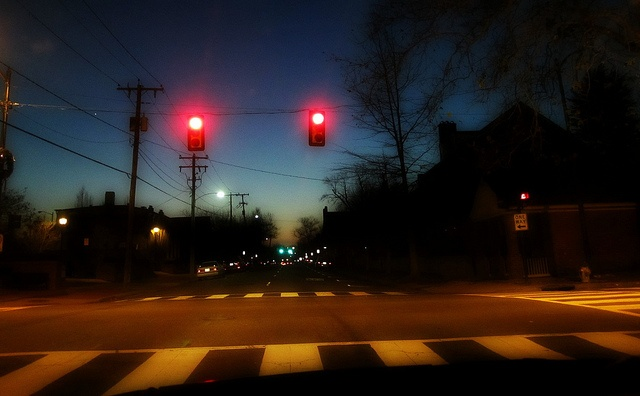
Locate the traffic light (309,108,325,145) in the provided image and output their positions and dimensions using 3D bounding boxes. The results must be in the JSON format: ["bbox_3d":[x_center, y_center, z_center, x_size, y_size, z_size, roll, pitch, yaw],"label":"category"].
[{"bbox_3d":[-0.152,-2.892,20.583,0.596,1.473,0.443,0,-12,-10],"label":"traffic light"}]

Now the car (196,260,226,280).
[{"bbox_3d":[-9.354,6.083,42.170,1.579,1.528,2.383,-5,-12,12],"label":"car"}]

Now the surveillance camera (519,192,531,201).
[{"bbox_3d":[10.542,-0.091,25.771,0.397,0.530,0.634,-11,-15,37],"label":"surveillance camera"}]

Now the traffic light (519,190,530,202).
[{"bbox_3d":[10.612,-0.069,25.785,0.594,0.552,0.560,0,0,-3],"label":"traffic light"}]
